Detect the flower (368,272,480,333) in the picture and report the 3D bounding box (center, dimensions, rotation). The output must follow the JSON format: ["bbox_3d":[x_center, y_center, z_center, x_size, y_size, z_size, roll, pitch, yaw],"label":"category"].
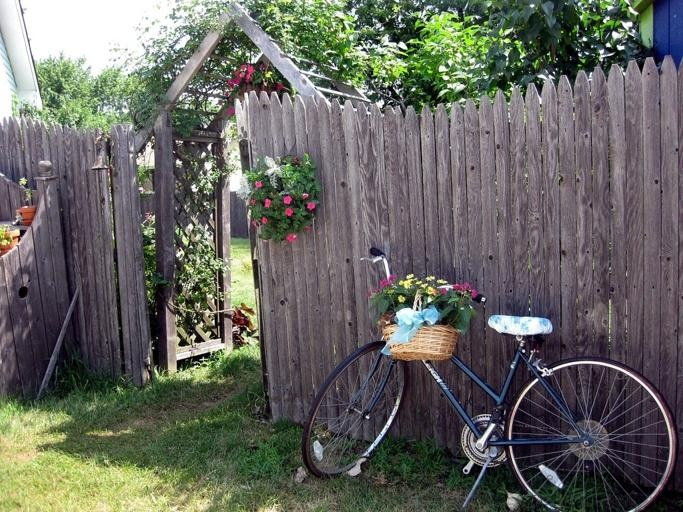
[{"bbox_3d":[0.644,0.321,4.509,0.751,0.337,0.661,11,-6,21],"label":"flower"}]

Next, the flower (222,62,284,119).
[{"bbox_3d":[-0.982,-1.811,6.522,0.814,0.507,0.400,6,12,30],"label":"flower"}]

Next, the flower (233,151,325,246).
[{"bbox_3d":[-0.480,-0.493,4.872,0.584,0.729,0.473,6,-6,6],"label":"flower"}]
